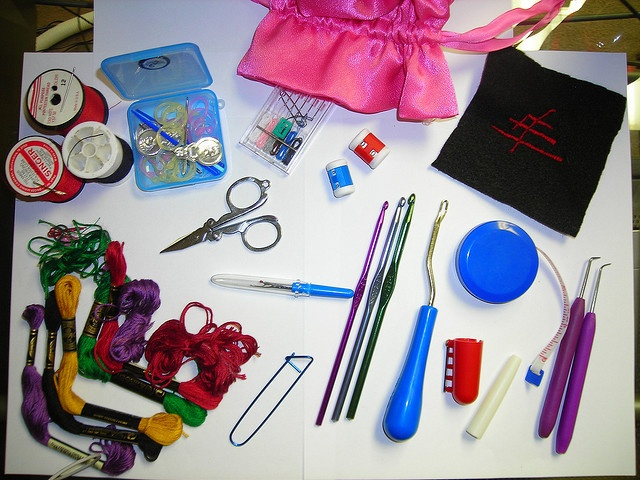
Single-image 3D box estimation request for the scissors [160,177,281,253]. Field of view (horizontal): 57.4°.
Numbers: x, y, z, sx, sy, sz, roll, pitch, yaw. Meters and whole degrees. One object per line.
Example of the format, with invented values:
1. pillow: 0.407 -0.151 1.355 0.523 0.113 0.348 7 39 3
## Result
1. scissors: -0.324 -0.070 1.921 0.367 0.041 0.258 -26 86 -4
